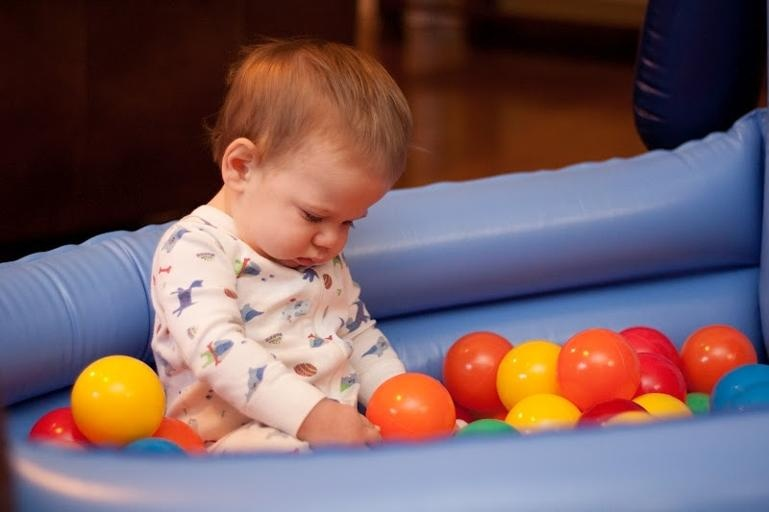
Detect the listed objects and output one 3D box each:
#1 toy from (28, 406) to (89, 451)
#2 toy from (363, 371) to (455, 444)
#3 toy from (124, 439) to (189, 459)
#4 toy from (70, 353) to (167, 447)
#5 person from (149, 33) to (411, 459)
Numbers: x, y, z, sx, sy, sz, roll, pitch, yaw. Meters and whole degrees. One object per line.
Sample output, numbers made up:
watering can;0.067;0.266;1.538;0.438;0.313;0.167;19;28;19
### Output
toy;-0.586;0.307;1.277;0.092;0.055;0.096;15;5;12
toy;0.055;0.304;1.371;0.143;0.132;0.126;0;38;-30
toy;-0.355;0.296;1.081;0.070;0.023;0.073;3;-6;-7
toy;-0.475;0.261;1.260;0.152;0.146;0.102;5;11;13
person;-0.214;-0.031;1.417;0.493;0.809;0.421;4;10;11
